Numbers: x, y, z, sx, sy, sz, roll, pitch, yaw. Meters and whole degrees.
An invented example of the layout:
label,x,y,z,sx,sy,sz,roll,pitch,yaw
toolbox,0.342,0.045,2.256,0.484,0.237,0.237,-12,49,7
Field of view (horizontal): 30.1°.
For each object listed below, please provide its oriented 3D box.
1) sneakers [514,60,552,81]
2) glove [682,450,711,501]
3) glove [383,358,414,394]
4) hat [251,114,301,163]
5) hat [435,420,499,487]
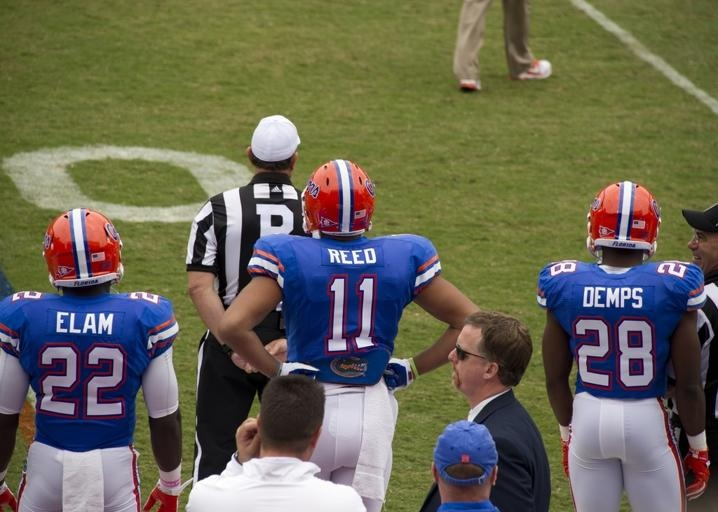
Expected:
label,x,y,z,sx,sy,sz,roll,pitch,yaw
sneakers,1.884,-1.967,14.334,0.439,0.171,0.203,-10,-20,0
glove,2.468,1.600,9.800,0.266,0.362,0.151,3,6,7
glove,0.229,0.846,9.325,0.220,0.209,0.179,-4,15,4
hat,-0.630,-0.882,10.157,0.276,0.220,0.399,0,42,1
hat,0.693,1.242,8.714,0.446,0.342,0.648,-2,10,6
